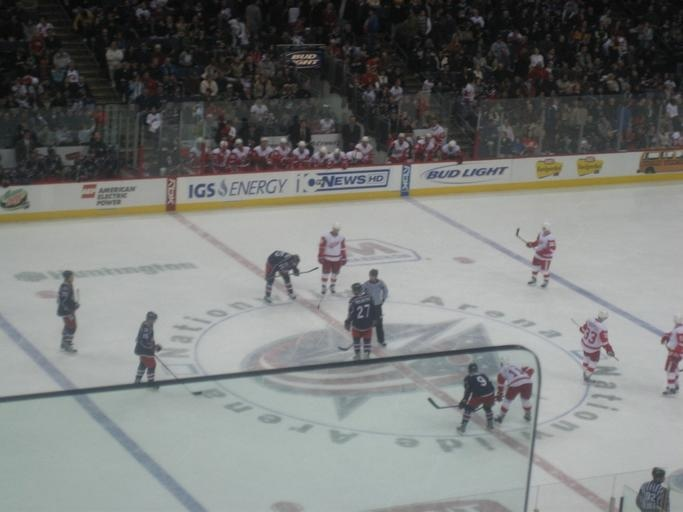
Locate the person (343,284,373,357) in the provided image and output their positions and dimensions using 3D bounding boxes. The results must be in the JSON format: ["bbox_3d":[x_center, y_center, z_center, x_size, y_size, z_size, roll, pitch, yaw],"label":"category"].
[{"bbox_3d":[0.330,1.155,15.244,0.512,1.308,0.796,-2,13,1],"label":"person"}]

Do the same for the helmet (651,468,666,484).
[{"bbox_3d":[3.977,2.742,10.667,0.158,0.191,0.198,5,32,34],"label":"helmet"}]

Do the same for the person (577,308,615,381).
[{"bbox_3d":[4.615,1.655,15.450,0.366,1.095,0.750,-34,55,-19],"label":"person"}]

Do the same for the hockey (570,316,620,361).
[{"bbox_3d":[4.630,1.537,15.580,0.547,0.278,0.870,38,-8,29],"label":"hockey"}]

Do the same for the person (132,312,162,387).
[{"bbox_3d":[-3.152,1.516,13.741,0.432,1.199,0.582,-6,14,-15],"label":"person"}]

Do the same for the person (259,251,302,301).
[{"bbox_3d":[-1.202,0.372,17.234,0.699,1.040,0.617,0,21,-14],"label":"person"}]

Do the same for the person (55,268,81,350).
[{"bbox_3d":[-4.925,0.905,15.244,0.377,1.428,1.430,-7,13,-19],"label":"person"}]

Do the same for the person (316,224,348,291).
[{"bbox_3d":[-0.187,0.051,17.602,0.530,1.468,0.563,-2,13,1],"label":"person"}]

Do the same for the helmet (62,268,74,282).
[{"bbox_3d":[-5.064,0.358,15.766,0.208,0.252,0.256,1,18,-8],"label":"helmet"}]
